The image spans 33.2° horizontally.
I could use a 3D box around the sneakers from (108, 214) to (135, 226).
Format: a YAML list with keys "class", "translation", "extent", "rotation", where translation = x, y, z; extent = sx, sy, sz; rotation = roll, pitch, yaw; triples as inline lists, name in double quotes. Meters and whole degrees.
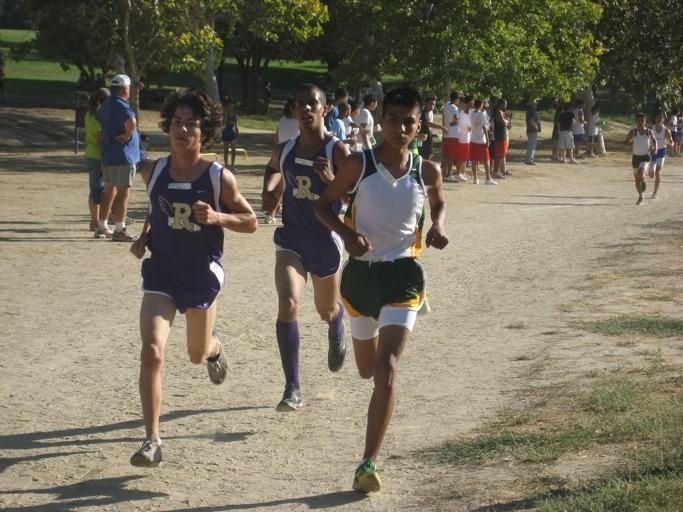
- class: "sneakers"
  translation: [-3.614, -0.580, 18.903]
  extent: [0.460, 0.196, 0.166]
  rotation: [0, 5, 2]

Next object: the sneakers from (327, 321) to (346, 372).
- class: "sneakers"
  translation: [-0.056, 1.007, 12.683]
  extent: [0.186, 0.547, 0.234]
  rotation: [5, 14, 21]

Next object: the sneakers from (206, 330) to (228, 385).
- class: "sneakers"
  translation: [-1.284, 1.088, 12.102]
  extent: [0.193, 0.541, 0.231]
  rotation: [-5, 7, 23]

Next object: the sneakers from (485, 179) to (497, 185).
- class: "sneakers"
  translation: [3.474, -1.718, 26.568]
  extent: [0.102, 0.202, 0.294]
  rotation: [-29, 20, -34]

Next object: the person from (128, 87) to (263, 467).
- class: "person"
  translation: [-1.593, 0.145, 11.364]
  extent: [0.883, 3.549, 1.253]
  rotation: [7, 8, 43]

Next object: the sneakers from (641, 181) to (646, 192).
- class: "sneakers"
  translation: [6.149, -1.419, 23.395]
  extent: [0.124, 0.253, 0.246]
  rotation: [0, 2, 17]

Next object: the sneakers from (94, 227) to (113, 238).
- class: "sneakers"
  translation: [-3.644, -0.367, 17.742]
  extent: [0.127, 0.149, 0.336]
  rotation: [22, 21, 41]
